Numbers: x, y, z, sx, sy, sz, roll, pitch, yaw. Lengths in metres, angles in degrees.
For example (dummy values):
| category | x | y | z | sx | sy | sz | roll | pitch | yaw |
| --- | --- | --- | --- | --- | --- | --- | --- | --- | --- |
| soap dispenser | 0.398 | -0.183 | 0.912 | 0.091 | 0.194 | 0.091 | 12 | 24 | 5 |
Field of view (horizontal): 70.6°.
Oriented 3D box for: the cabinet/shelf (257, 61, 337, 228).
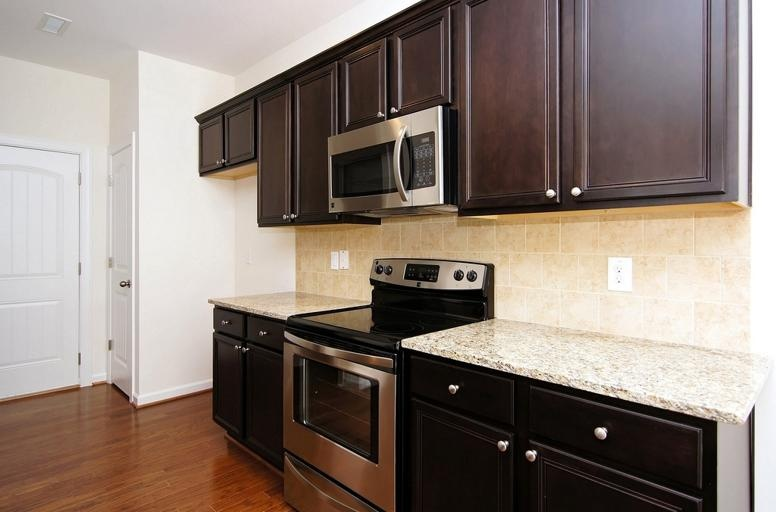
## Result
| category | x | y | z | sx | sy | sz | roll | pitch | yaw |
| --- | --- | --- | --- | --- | --- | --- | --- | --- | --- |
| cabinet/shelf | -0.536 | -0.766 | 4.120 | 0.439 | 1.182 | 1.226 | -1 | 2 | -38 |
